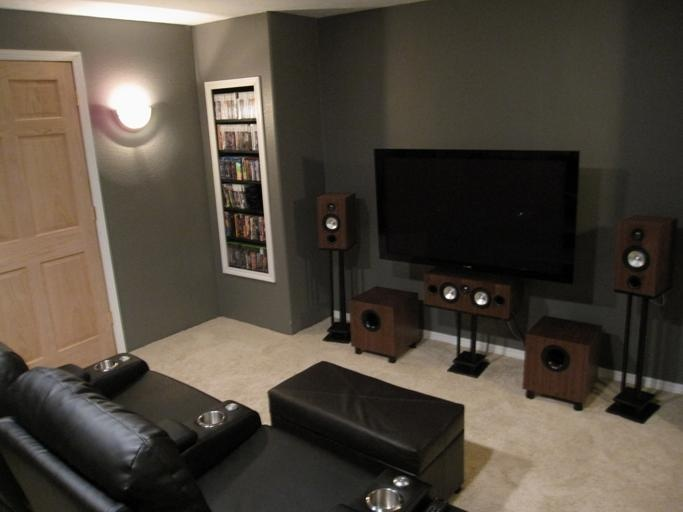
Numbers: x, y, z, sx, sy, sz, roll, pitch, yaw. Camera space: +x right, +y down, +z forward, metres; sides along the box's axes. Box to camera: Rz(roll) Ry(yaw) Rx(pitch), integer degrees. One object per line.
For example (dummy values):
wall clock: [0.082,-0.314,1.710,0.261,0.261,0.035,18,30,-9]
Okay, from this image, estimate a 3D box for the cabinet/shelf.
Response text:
cabinet/shelf: [-0.934,-0.668,4.800,0.745,1.839,0.222,12,21,40]

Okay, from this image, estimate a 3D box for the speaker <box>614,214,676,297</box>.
speaker: [2.010,0.017,3.388,0.375,0.497,0.218,-6,17,-13]

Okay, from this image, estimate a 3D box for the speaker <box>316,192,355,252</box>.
speaker: [-0.048,-0.313,4.673,0.359,0.492,0.355,-6,22,-14]

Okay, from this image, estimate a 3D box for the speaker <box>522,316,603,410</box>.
speaker: [1.601,0.779,3.784,0.461,0.494,0.422,8,19,31]

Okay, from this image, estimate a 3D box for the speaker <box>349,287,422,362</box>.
speaker: [0.362,0.504,4.600,0.566,0.636,0.567,9,17,37]

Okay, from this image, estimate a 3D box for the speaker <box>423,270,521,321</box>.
speaker: [0.958,0.371,4.123,0.648,0.321,0.213,8,-25,8]
